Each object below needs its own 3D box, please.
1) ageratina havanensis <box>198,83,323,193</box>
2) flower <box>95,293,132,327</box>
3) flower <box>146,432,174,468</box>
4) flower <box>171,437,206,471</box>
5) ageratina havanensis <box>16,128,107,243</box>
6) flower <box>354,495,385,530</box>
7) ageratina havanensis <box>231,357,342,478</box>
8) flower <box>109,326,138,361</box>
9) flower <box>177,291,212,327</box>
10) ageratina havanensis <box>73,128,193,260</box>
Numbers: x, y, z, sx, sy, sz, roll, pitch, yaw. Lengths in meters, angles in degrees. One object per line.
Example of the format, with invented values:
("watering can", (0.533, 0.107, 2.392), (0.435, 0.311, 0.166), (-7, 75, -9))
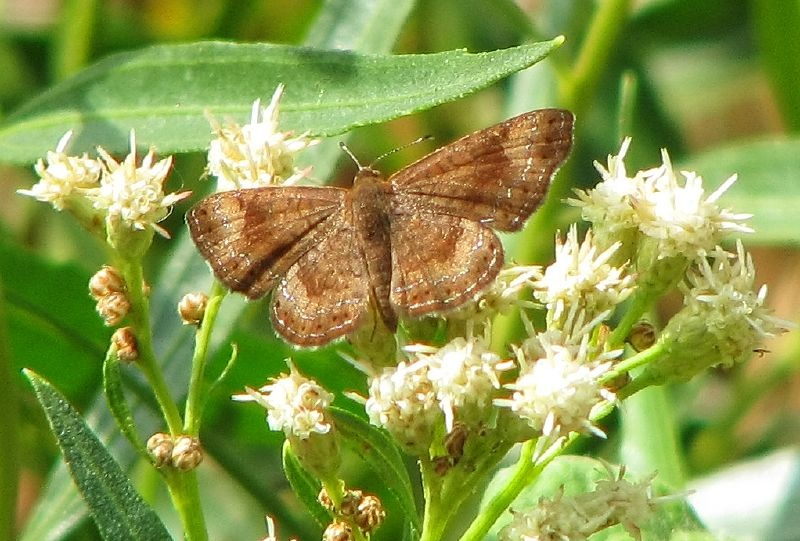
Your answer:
("ageratina havanensis", (-0.387, -0.315, 2.780), (0.298, 0.297, 0.176), (-31, -19, -14))
("flower", (-0.783, 0.107, 2.651), (0.072, 0.094, 0.035), (-20, 0, -17))
("flower", (-0.633, 0.473, 2.555), (0.073, 0.090, 0.065), (-12, -7, -16))
("flower", (-0.563, 0.480, 2.561), (0.095, 0.095, 0.075), (-11, -7, -29))
("ageratina havanensis", (-0.901, -0.242, 2.687), (0.253, 0.246, 0.118), (-37, -15, -24))
("flower", (-0.076, 0.664, 2.662), (0.072, 0.076, 0.139), (-15, -7, 5))
("ageratina havanensis", (-0.258, 0.385, 2.684), (0.229, 0.352, 0.385), (-7, 24, -11))
("flower", (-0.737, 0.201, 2.592), (0.066, 0.091, 0.033), (-1, -13, -39))
("flower", (-0.584, 0.120, 2.754), (0.081, 0.095, 0.036), (13, -16, 22))
("ageratina havanensis", (-0.705, -0.210, 2.675), (0.303, 0.380, 0.242), (-20, 31, -36))
